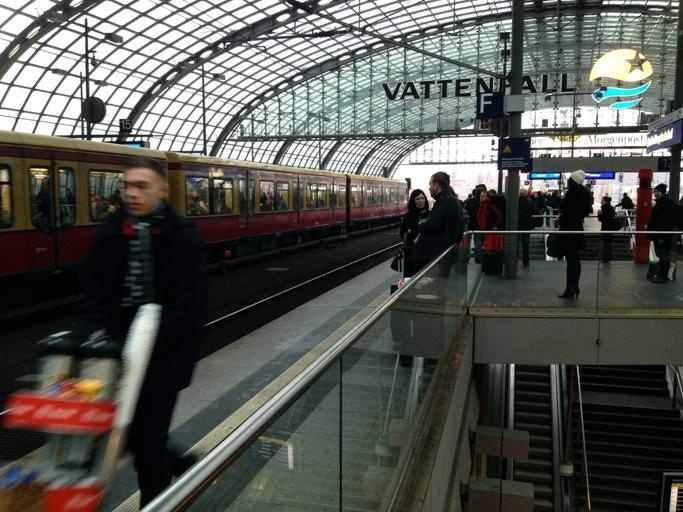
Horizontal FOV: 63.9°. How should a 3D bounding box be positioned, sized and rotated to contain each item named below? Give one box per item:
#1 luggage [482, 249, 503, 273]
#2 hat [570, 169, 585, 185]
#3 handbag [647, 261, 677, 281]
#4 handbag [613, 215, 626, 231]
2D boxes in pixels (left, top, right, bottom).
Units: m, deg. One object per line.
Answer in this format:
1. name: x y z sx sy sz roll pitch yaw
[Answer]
1. luggage: 2.852 0.073 10.327 0.406 0.582 0.297 -1 5 4
2. hat: 4.363 -1.484 10.018 0.255 0.221 0.291 -3 -16 13
3. handbag: 5.970 0.255 10.207 0.560 0.533 0.306 0 3 3
4. handbag: 9.321 -1.064 18.237 0.338 0.353 0.636 6 7 13
